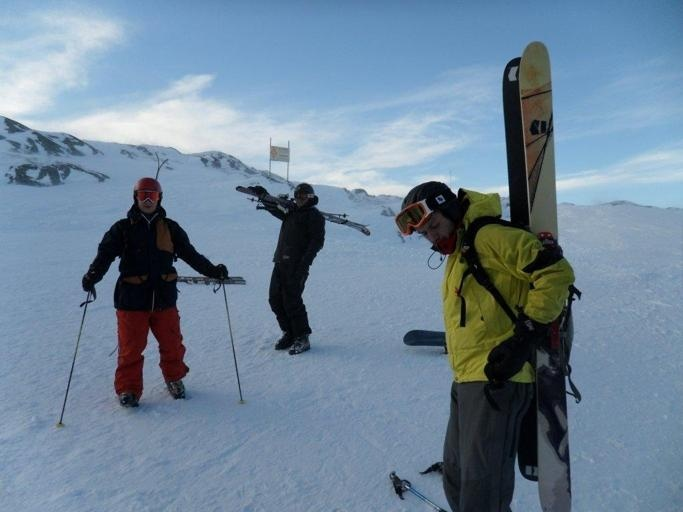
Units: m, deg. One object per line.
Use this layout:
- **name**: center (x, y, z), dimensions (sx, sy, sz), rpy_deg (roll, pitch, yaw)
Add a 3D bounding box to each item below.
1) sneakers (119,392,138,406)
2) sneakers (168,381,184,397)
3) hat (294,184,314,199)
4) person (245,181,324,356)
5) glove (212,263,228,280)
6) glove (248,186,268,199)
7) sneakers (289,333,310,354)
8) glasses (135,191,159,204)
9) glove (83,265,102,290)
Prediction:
- **sneakers**: center (-2.535, 1.724, 6.298), dimensions (0.172, 0.172, 0.125), rpy_deg (-3, 4, -23)
- **sneakers**: center (-2.047, 1.678, 6.606), dimensions (0.110, 0.139, 0.305), rpy_deg (-3, -3, -39)
- **hat**: center (-0.598, -1.064, 8.426), dimensions (0.274, 0.237, 0.236), rpy_deg (6, 24, -6)
- **person**: center (-0.734, 0.171, 8.640), dimensions (0.901, 2.740, 1.598), rpy_deg (-2, 15, -8)
- **glove**: center (-1.576, 0.202, 6.922), dimensions (0.160, 0.214, 0.209), rpy_deg (0, -3, -8)
- **glove**: center (-1.441, -1.124, 9.328), dimensions (0.205, 0.162, 0.516), rpy_deg (-5, 9, -7)
- **sneakers**: center (-0.651, 1.408, 8.394), dimensions (0.440, 0.297, 0.156), rpy_deg (5, -3, -44)
- **glasses**: center (-2.362, -0.731, 6.463), dimensions (0.273, 0.143, 0.151), rpy_deg (-6, 16, -21)
- **glove**: center (-2.928, 0.311, 6.224), dimensions (0.115, 0.322, 0.237), rpy_deg (31, 6, -26)
